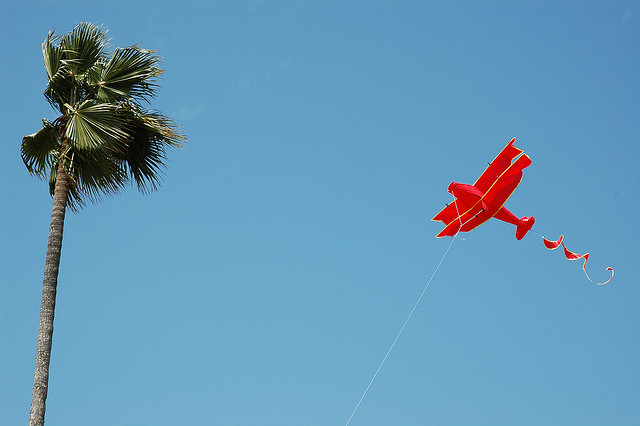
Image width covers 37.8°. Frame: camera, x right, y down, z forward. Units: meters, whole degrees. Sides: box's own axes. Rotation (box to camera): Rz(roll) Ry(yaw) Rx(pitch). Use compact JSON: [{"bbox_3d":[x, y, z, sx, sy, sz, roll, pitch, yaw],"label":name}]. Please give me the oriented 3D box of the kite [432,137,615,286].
[{"bbox_3d":[3.877,0.300,18.714,3.558,3.730,1.263,30,-70,31],"label":"kite"}]
